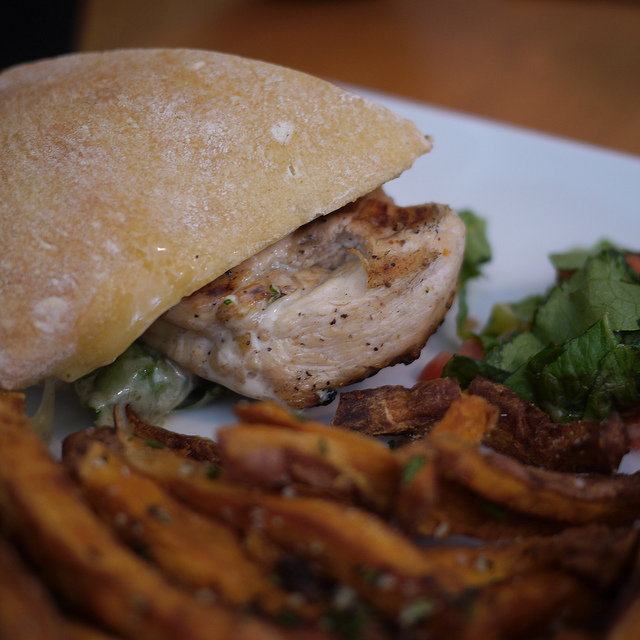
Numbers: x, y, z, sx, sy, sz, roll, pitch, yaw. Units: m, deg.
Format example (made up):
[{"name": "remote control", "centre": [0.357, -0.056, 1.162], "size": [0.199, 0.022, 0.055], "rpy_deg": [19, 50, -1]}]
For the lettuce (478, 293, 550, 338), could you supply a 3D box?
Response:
[{"name": "lettuce", "centre": [0.308, -0.013, 1.261], "size": [0.122, 0.029, 0.074], "rpy_deg": [-15, 17, 3]}]

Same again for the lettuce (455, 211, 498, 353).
[{"name": "lettuce", "centre": [0.274, -0.070, 1.273], "size": [0.114, 0.223, 0.037], "rpy_deg": [-4, 5, -31]}]
